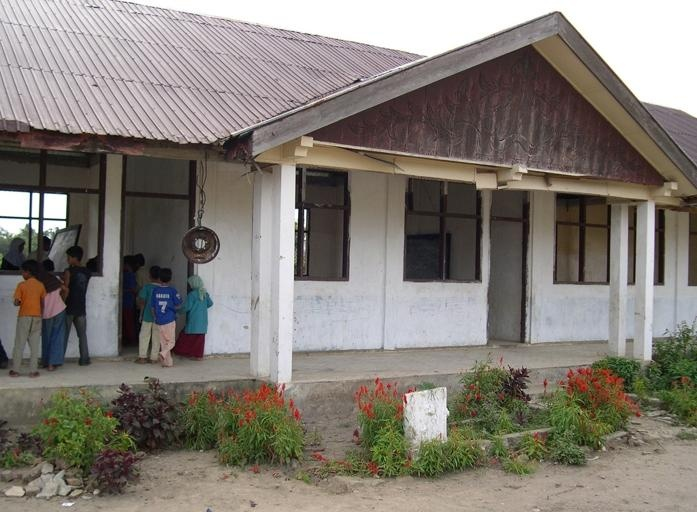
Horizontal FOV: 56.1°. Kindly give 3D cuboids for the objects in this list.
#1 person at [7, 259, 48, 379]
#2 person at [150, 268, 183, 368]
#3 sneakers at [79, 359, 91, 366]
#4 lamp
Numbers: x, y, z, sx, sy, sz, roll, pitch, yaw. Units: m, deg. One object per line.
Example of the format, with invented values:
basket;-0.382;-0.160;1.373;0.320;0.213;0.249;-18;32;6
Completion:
person;-4.639;0.871;9.421;0.441;1.649;0.760;1;-2;-26
person;-2.911;0.963;10.357;0.436;1.529;0.600;0;-2;1
sneakers;-4.078;1.628;10.059;0.154;0.110;0.225;1;-3;-19
lamp;-2.377;-0.767;10.415;0.539;1.769;1.852;1;-2;-14
